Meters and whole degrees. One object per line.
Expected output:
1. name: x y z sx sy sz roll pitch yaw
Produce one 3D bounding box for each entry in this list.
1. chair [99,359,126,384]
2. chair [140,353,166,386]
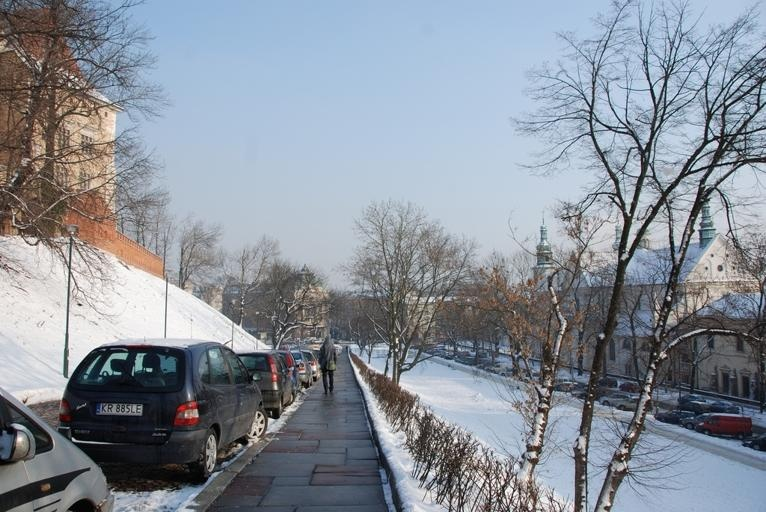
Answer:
1. chair: -5.704 2.503 15.408 0.478 0.574 0.470 -12 -21 32
2. chair: -4.886 2.446 15.438 0.488 0.708 0.597 0 -12 -10
